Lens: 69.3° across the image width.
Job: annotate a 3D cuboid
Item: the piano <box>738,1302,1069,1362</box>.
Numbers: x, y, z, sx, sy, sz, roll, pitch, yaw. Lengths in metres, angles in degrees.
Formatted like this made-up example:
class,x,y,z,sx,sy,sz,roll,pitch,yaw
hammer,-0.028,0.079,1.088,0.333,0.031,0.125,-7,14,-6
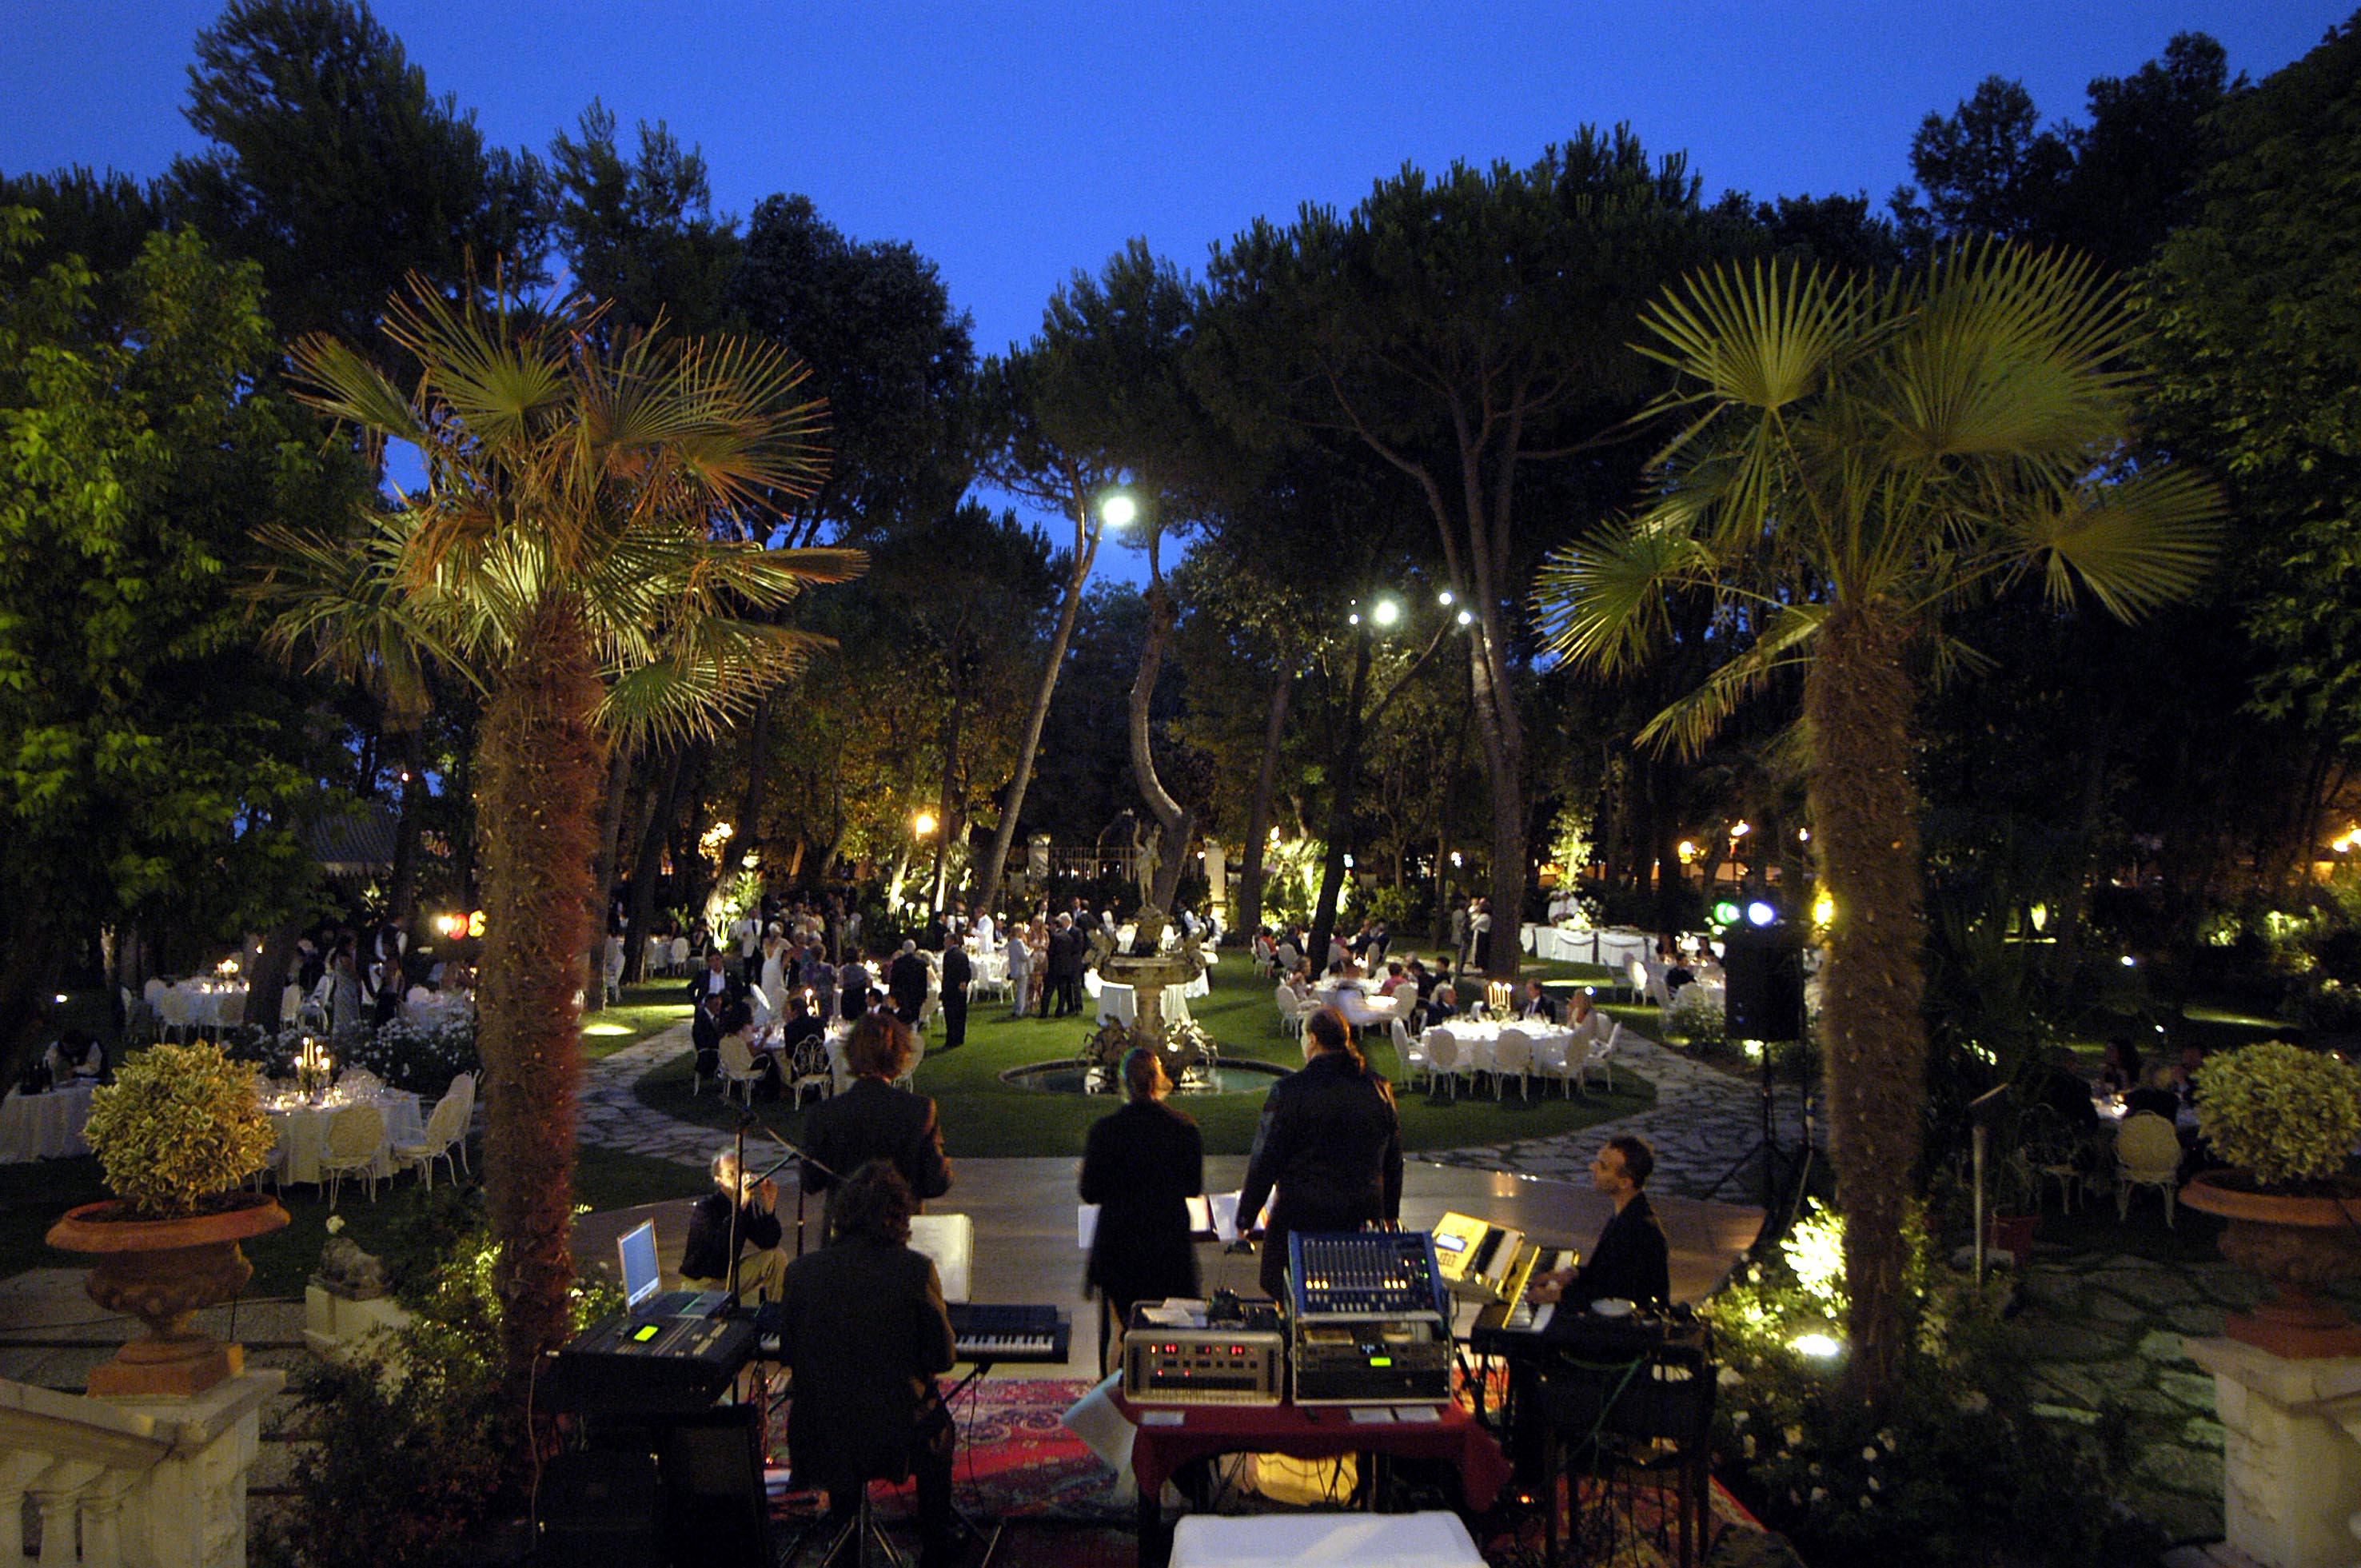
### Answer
class,x,y,z,sx,sy,sz,roll,pitch,yaw
piano,-1.553,3.047,9.388,1.926,0.386,0.497,3,-6,-6
